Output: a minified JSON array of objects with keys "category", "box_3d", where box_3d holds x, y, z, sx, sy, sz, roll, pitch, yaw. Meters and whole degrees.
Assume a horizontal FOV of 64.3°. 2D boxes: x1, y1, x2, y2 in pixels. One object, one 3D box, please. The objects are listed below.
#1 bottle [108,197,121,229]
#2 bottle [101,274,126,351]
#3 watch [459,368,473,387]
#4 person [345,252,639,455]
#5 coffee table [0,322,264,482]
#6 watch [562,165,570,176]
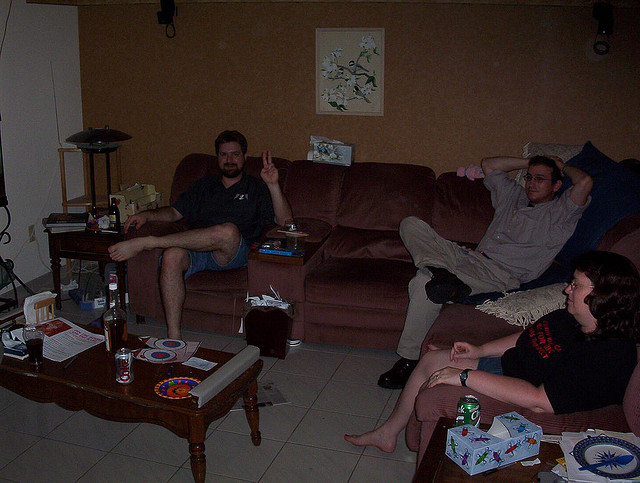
[{"category":"bottle","box_3d":[-1.582,-0.218,3.882,0.085,0.227,0.168,-5,17,-22]},{"category":"bottle","box_3d":[-1.051,0.354,2.565,0.105,0.398,0.167,-5,17,-24]},{"category":"watch","box_3d":[0.614,0.574,2.170,0.039,0.070,0.052,9,17,25]},{"category":"person","box_3d":[0.699,0.357,2.329,1.180,0.807,0.600,1,27,16]},{"category":"coffee table","box_3d":[-0.935,0.789,2.616,1.207,0.466,0.540,7,17,18]},{"category":"watch","box_3d":[1.561,-0.450,3.231,0.043,0.050,0.019,4,-5,-25]}]
